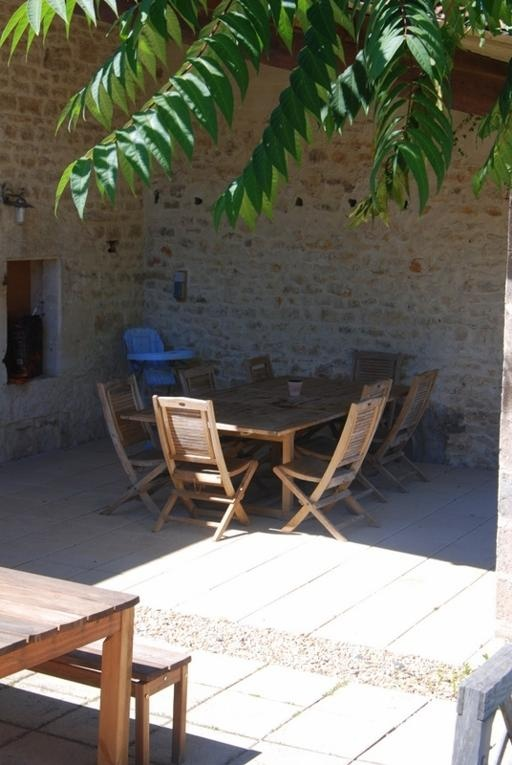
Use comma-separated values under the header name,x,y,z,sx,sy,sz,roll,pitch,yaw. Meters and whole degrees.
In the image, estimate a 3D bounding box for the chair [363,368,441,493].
name,x,y,z,sx,sy,sz,roll,pitch,yaw
chair,1.058,0.409,5.913,0.759,0.950,0.594,6,10,32

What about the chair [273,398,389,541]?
name,x,y,z,sx,sy,sz,roll,pitch,yaw
chair,0.513,0.582,4.930,0.649,0.900,0.753,-5,4,-39

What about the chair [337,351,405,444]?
name,x,y,z,sx,sy,sz,roll,pitch,yaw
chair,1.127,0.129,6.713,0.639,0.798,0.649,1,7,-11

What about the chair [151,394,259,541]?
name,x,y,z,sx,sy,sz,roll,pitch,yaw
chair,-0.362,0.558,5.016,0.688,1.008,0.993,0,7,-1

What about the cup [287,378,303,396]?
name,x,y,z,sx,sy,sz,roll,pitch,yaw
cup,0.337,0.049,5.735,0.129,0.101,0.118,-1,2,0

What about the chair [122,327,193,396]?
name,x,y,z,sx,sy,sz,roll,pitch,yaw
chair,-1.038,-0.231,7.622,0.690,0.758,0.821,-7,11,-39
